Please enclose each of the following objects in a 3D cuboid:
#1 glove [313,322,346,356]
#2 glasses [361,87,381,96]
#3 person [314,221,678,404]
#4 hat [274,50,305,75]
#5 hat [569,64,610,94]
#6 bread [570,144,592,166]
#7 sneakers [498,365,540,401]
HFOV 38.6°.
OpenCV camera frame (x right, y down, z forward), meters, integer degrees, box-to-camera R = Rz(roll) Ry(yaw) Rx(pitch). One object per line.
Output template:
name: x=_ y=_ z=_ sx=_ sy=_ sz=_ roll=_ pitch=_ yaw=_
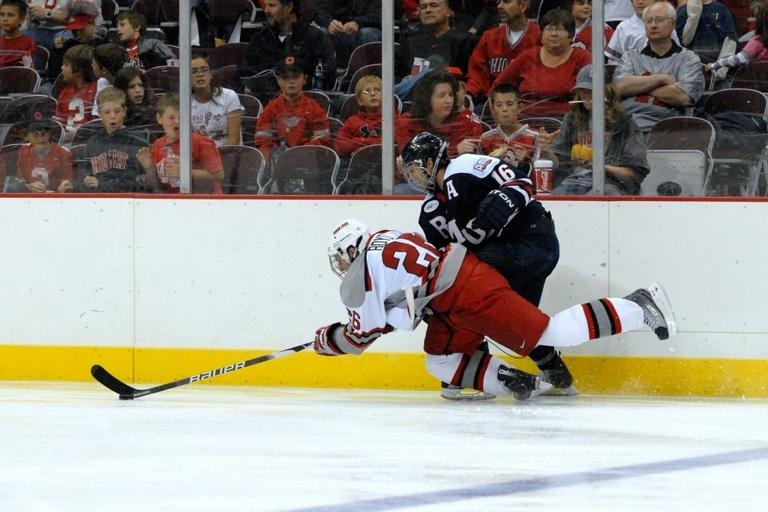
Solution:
glove: x=-0.337 y=0.529 z=7.009 sx=0.219 sy=0.166 sz=0.113 roll=-16 pitch=-39 yaw=29
glasses: x=-0.073 y=-1.140 z=7.553 sx=0.082 sy=0.025 sz=0.078 roll=0 pitch=-45 yaw=0
person: x=0.666 y=0.409 z=7.024 sx=2.243 sy=0.933 sz=1.073 roll=12 pitch=21 yaw=21
hat: x=-0.638 y=-1.335 z=7.612 sx=0.159 sy=0.114 sz=0.204 roll=-6 pitch=-27 yaw=-3
hat: x=1.373 y=-1.208 z=7.325 sx=0.152 sy=0.121 sz=0.224 roll=-3 pitch=4 yaw=42
bread: x=1.356 y=-0.688 z=7.437 sx=0.128 sy=0.133 sz=0.080 roll=-1 pitch=-2 yaw=10
sneakers: x=0.856 y=0.792 z=6.903 sx=0.281 sy=0.164 sz=0.126 roll=21 pitch=-13 yaw=-9
